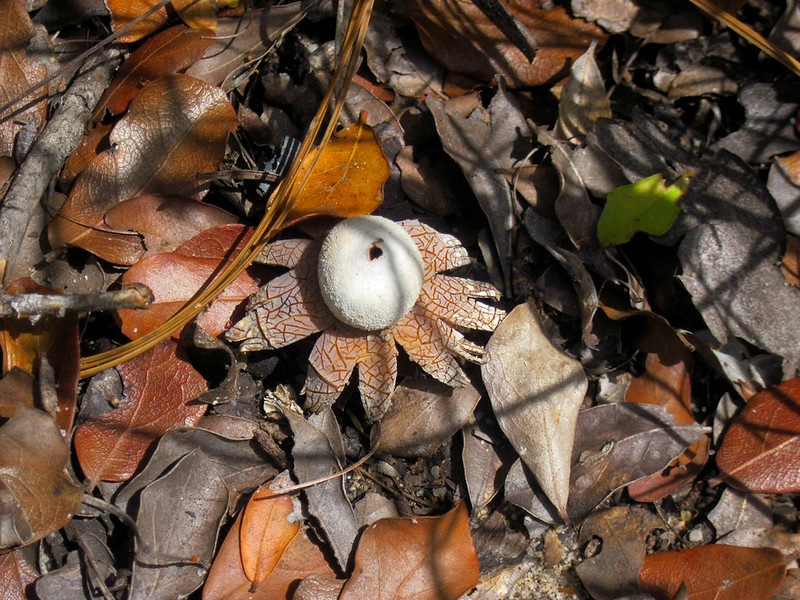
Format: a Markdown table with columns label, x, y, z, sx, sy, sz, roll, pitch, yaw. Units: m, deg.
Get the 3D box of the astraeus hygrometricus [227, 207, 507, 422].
| label | x | y | z | sx | sy | sz | roll | pitch | yaw |
| --- | --- | --- | --- | --- | --- | --- | --- | --- | --- |
| astraeus hygrometricus | -0.058 | 0.037 | 1.994 | 0.451 | 0.183 | 0.500 | -15 | 54 | 6 |
